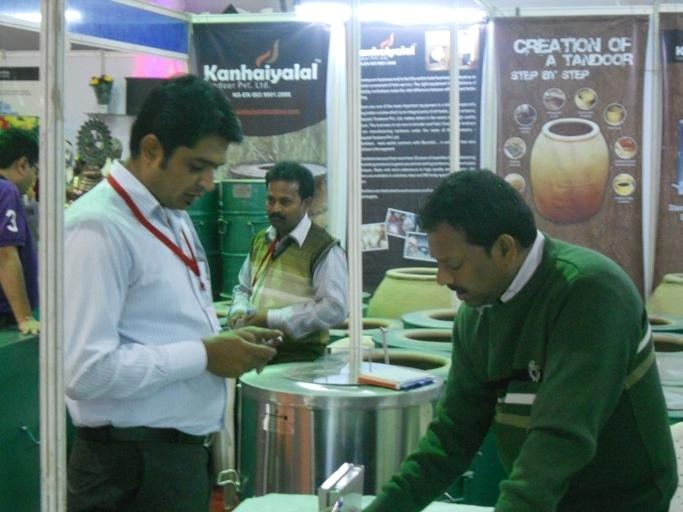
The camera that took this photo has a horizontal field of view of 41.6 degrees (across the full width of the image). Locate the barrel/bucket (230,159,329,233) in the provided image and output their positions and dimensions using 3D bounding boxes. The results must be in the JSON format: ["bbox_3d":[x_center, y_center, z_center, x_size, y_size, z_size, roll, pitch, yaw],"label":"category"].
[{"bbox_3d":[-0.459,-0.512,7.340,0.601,0.383,0.621,1,6,0],"label":"barrel/bucket"}]

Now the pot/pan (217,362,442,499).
[{"bbox_3d":[-0.045,0.776,4.244,0.728,0.740,0.711,0,1,-43],"label":"pot/pan"}]
